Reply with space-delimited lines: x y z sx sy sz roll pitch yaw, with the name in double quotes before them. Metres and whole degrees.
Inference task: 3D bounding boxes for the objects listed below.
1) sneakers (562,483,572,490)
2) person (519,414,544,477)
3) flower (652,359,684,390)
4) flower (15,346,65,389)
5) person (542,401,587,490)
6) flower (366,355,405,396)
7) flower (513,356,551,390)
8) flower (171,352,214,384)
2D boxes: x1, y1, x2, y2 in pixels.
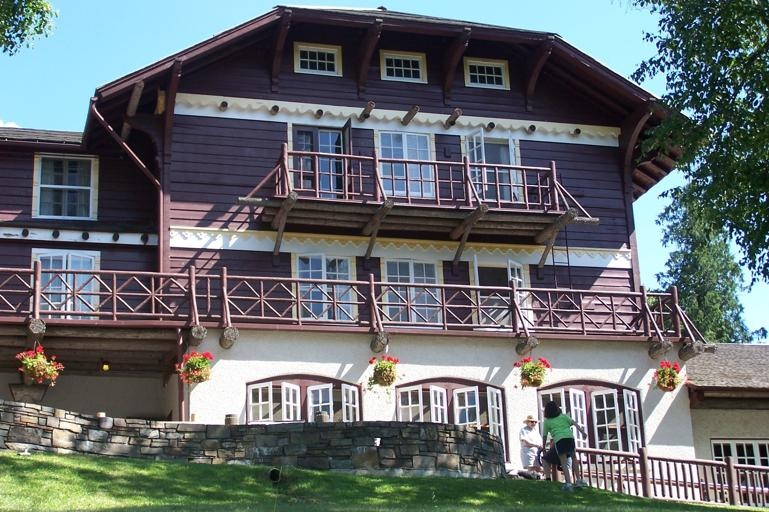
"sneakers" 4.415 5.625 24.743 0.179 0.165 0.129 -3 -4 8
"person" 3.955 5.140 27.744 0.589 1.652 0.789 -1 -20 8
"flower" 8.409 3.545 29.979 0.891 0.828 0.754 5 -7 -15
"flower" -9.195 3.050 26.858 0.980 0.845 0.969 34 17 2
"person" 4.489 4.694 25.265 1.075 2.219 0.872 -6 -20 -14
"flower" -0.148 3.278 28.108 1.017 0.542 0.744 -9 -44 22
"flower" 4.180 3.342 28.901 0.910 0.617 0.886 4 -9 -23
"flower" -5.051 2.985 27.200 0.988 0.674 1.047 -5 11 9
